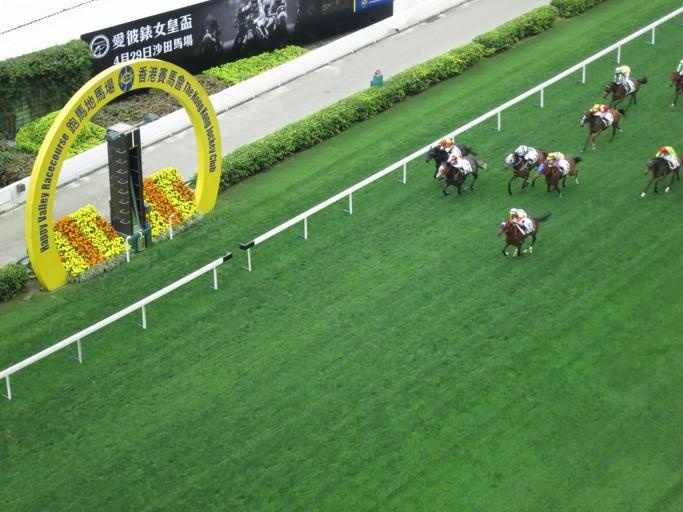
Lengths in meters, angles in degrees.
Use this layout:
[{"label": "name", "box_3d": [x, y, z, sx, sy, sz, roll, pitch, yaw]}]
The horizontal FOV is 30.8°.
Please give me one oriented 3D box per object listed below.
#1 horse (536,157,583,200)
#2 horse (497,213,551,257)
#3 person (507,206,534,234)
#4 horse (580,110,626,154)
[{"label": "horse", "box_3d": [5.497, -2.049, 30.540, 1.415, 0.827, 0.310, -18, 33, -23]}, {"label": "horse", "box_3d": [4.306, -0.541, 28.610, 1.623, 0.882, 0.387, -18, 24, -26]}, {"label": "person", "box_3d": [4.189, -0.789, 28.430, 0.453, 0.297, 0.942, 21, 5, 18]}, {"label": "horse", "box_3d": [6.946, -3.442, 32.307, 1.931, 1.161, 0.432, -22, 25, -39]}]
